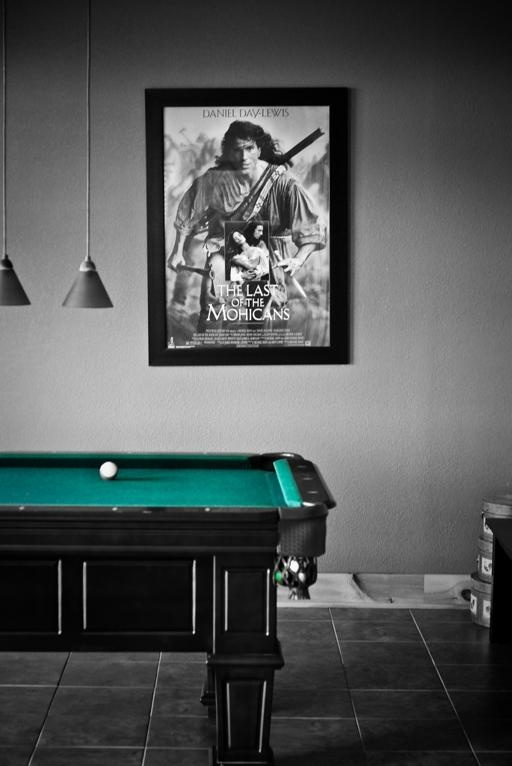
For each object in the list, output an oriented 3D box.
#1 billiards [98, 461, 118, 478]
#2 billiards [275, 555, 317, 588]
[{"bbox_3d":[-0.538,0.327,2.392,0.058,0.066,0.073,17,-29,-7],"label":"billiards"},{"bbox_3d":[0.114,0.531,1.900,0.094,0.084,0.103,1,-6,-1],"label":"billiards"}]
